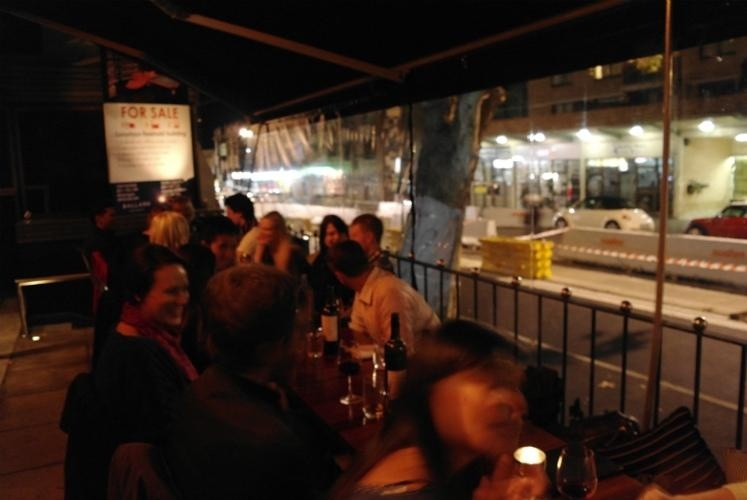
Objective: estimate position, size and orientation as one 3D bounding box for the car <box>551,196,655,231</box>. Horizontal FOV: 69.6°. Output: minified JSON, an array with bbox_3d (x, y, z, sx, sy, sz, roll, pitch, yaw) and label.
[{"bbox_3d":[7.813,-1.143,18.124,1.313,0.979,2.380,-4,9,-39],"label":"car"}]
